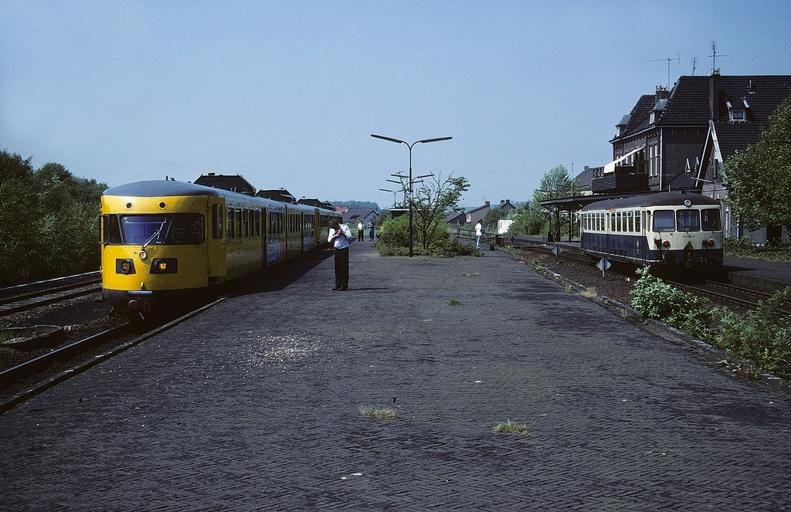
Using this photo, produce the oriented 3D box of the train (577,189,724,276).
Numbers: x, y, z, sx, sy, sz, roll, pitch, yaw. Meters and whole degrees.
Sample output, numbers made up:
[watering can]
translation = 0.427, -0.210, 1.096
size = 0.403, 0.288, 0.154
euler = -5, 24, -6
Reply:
[train]
translation = 10.028, -1.423, 28.835
size = 2.968, 2.767, 10.111
euler = 0, 6, -10
